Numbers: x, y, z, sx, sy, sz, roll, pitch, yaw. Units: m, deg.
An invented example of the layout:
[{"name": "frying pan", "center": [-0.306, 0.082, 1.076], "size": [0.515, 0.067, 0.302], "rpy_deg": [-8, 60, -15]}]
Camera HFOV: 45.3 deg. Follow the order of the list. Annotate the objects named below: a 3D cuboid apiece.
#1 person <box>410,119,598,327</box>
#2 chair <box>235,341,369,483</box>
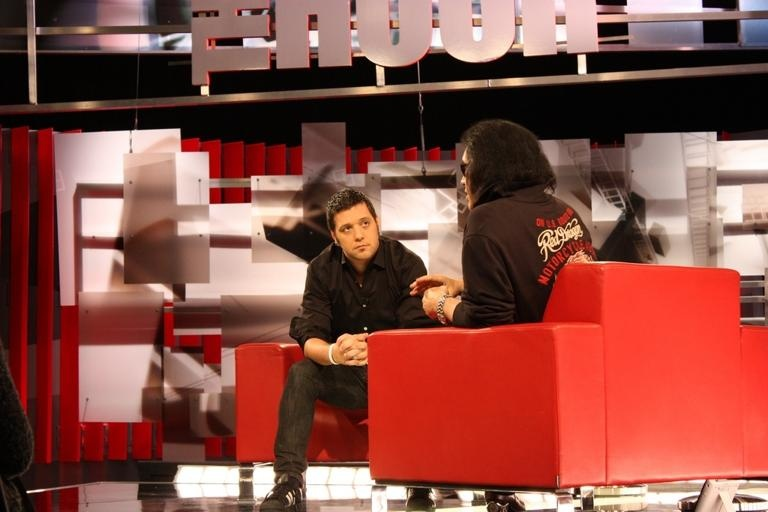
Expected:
[{"name": "person", "center": [0.660, -0.181, 4.827], "size": [0.762, 1.083, 1.053], "rpy_deg": [3, 9, 37]}, {"name": "chair", "center": [-0.454, 0.835, 5.371], "size": [0.627, 0.804, 0.874], "rpy_deg": [-8, -12, 41]}]
